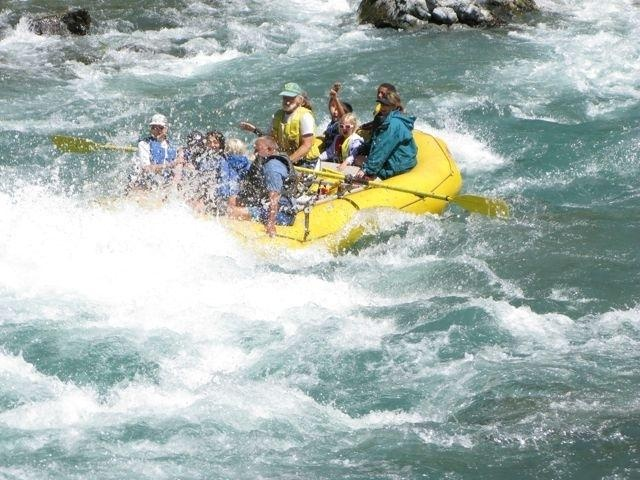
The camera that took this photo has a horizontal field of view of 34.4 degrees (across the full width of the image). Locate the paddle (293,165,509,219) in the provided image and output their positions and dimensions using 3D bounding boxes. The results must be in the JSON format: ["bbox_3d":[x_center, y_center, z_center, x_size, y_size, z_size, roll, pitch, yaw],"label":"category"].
[{"bbox_3d":[1.093,-0.713,15.555,4.311,0.416,0.183,9,-14,9],"label":"paddle"}]

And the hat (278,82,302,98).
[{"bbox_3d":[-0.416,-2.294,15.855,0.304,0.179,0.381,4,5,17],"label":"hat"}]

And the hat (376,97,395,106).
[{"bbox_3d":[0.990,-2.162,15.978,0.145,0.137,0.383,-5,13,-24],"label":"hat"}]

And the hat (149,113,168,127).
[{"bbox_3d":[-2.360,-1.727,15.104,0.219,0.130,0.264,-4,-24,-2],"label":"hat"}]
